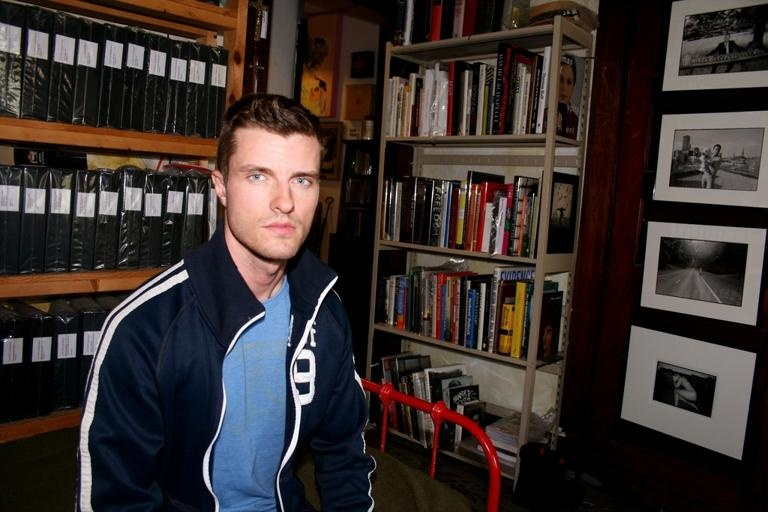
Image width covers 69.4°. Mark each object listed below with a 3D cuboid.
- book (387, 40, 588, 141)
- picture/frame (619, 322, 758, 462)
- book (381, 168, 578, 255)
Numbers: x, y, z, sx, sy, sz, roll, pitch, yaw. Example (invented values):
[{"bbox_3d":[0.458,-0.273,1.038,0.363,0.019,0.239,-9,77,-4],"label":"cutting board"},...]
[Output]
[{"bbox_3d":[0.606,-1.016,3.530,1.162,0.563,0.418,6,9,40],"label":"book"},{"bbox_3d":[1.774,0.769,3.177,0.776,0.698,0.077,17,7,37],"label":"picture/frame"},{"bbox_3d":[0.575,-0.285,3.568,1.195,0.494,0.387,5,8,36],"label":"book"}]
